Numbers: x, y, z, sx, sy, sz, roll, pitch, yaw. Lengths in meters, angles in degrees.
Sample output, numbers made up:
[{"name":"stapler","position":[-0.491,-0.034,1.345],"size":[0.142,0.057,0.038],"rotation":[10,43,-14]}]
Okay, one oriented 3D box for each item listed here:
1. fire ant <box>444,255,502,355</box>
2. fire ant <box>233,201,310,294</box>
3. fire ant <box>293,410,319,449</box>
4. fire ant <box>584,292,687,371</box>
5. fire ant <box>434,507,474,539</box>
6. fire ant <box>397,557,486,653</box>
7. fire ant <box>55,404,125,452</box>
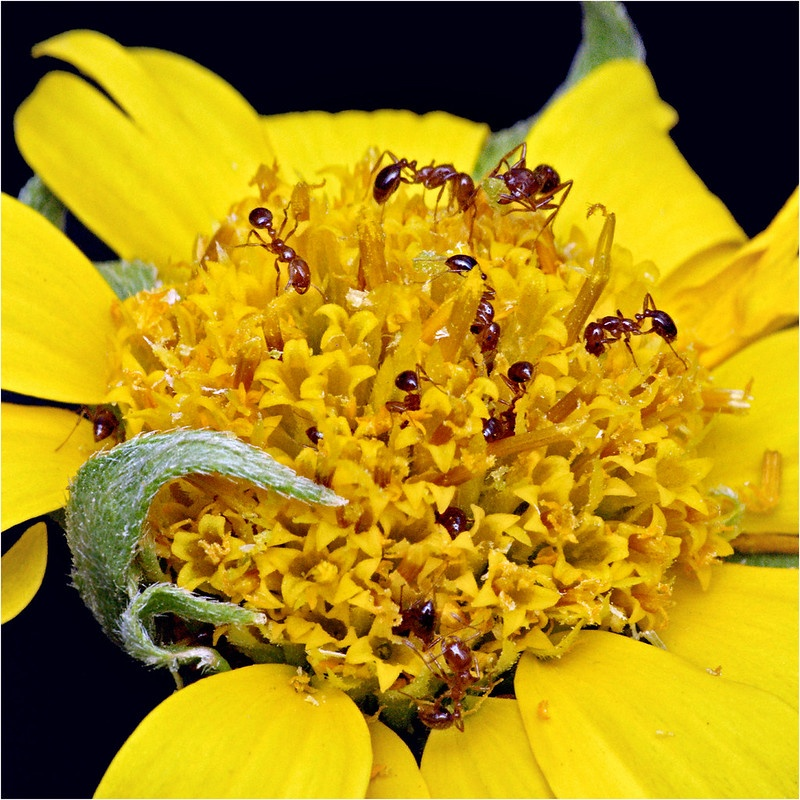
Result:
[{"name":"fire ant","position":[0.195,-0.218,2.265],"size":[0.067,0.167,0.206],"rotation":[-11,96,23]},{"name":"fire ant","position":[-0.298,-0.353,2.382],"size":[0.206,0.079,0.258],"rotation":[-20,53,-12]},{"name":"fire ant","position":[-0.199,0.060,2.155],"size":[0.064,0.027,0.081],"rotation":[-19,86,38]},{"name":"fire ant","position":[0.640,-0.183,2.603],"size":[0.196,0.262,0.087],"rotation":[36,77,-26]},{"name":"fire ant","position":[0.117,0.256,2.103],"size":[0.062,0.097,0.067],"rotation":[-36,84,-3]},{"name":"fire ant","position":[0.068,0.470,2.087],"size":[0.139,0.178,0.156],"rotation":[-40,84,-3]},{"name":"fire ant","position":[-0.759,0.056,2.512],"size":[0.123,0.043,0.138],"rotation":[2,48,-7]}]
